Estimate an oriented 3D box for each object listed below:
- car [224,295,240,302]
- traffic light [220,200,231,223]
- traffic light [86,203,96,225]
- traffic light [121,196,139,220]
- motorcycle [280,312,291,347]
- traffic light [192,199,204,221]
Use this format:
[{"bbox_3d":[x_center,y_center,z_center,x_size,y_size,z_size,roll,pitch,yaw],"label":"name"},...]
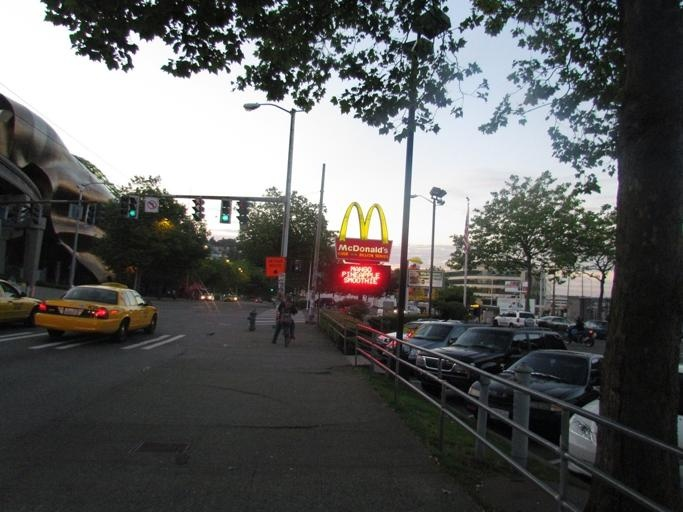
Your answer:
[{"bbox_3d":[-20.827,7.993,100.327,1.108,0.965,1.839,4,-8,-41],"label":"car"},{"bbox_3d":[-5.637,-2.185,25.810,0.447,1.033,0.402,4,-2,-4],"label":"traffic light"},{"bbox_3d":[-16.609,-2.796,35.287,0.561,1.297,1.179,4,-2,-22],"label":"traffic light"},{"bbox_3d":[-10.314,-2.450,25.847,0.755,1.117,1.303,5,-3,-18],"label":"traffic light"},{"bbox_3d":[-1.942,2.557,18.700,0.354,0.980,0.854,4,-2,-6],"label":"motorcycle"},{"bbox_3d":[-7.018,-2.309,26.092,0.442,1.072,3.323,4,-3,-16],"label":"traffic light"}]
